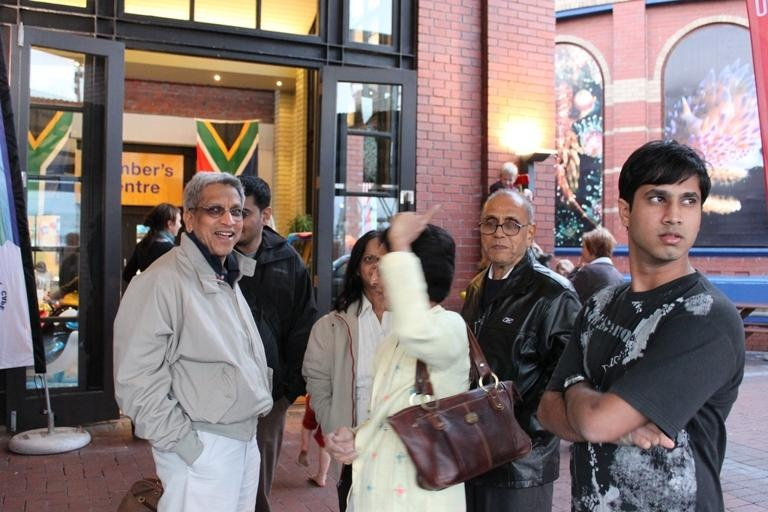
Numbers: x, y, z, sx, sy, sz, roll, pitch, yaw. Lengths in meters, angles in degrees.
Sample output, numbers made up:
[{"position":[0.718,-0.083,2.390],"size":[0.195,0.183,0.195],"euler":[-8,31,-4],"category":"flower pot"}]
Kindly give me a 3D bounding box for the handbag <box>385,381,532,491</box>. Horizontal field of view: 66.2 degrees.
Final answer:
[{"position":[0.363,0.786,2.547],"size":[0.594,0.358,0.140],"euler":[-10,-21,-29],"category":"handbag"}]

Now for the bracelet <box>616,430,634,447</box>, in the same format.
[{"position":[0.954,0.732,2.338],"size":[0.061,0.057,0.057],"euler":[4,0,-35],"category":"bracelet"}]

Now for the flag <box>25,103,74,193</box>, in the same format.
[{"position":[-3.478,-1.107,6.341],"size":[0.591,0.902,0.584],"euler":[3,-3,-22],"category":"flag"}]
